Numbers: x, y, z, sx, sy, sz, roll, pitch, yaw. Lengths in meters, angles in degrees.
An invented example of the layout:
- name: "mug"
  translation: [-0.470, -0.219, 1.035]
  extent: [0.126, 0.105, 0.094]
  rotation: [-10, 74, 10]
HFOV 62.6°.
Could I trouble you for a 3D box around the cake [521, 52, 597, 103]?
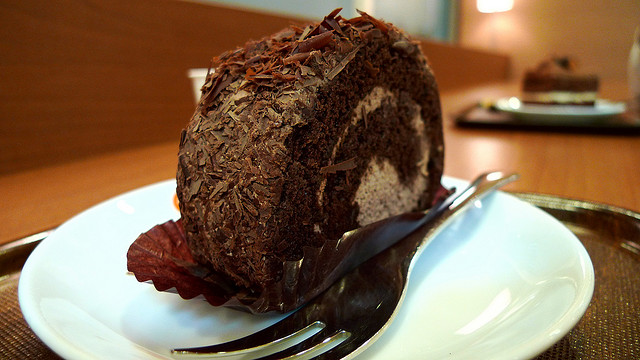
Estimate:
- name: "cake"
  translation: [1.323, -0.532, 2.893]
  extent: [0.345, 0.200, 0.338]
  rotation: [-13, 12, -38]
